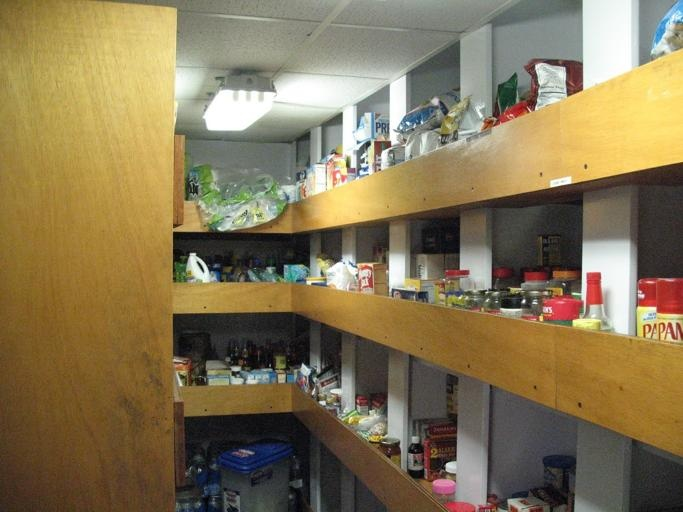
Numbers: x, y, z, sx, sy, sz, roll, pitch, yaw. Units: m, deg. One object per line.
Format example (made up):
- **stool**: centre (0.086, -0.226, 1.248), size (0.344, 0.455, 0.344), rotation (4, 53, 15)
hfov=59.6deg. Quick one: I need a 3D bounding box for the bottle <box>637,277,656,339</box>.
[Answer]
- **bottle**: centre (0.671, 0.111, 1.311), size (0.041, 0.117, 0.082), rotation (-3, 0, 27)
